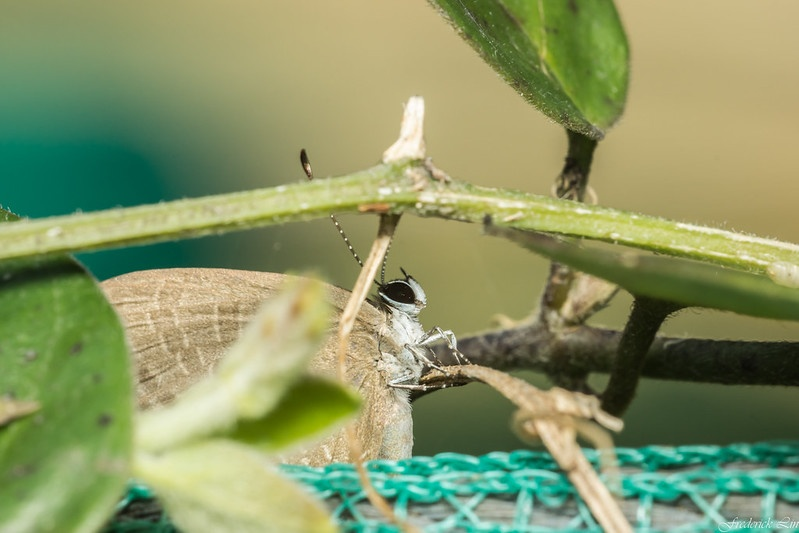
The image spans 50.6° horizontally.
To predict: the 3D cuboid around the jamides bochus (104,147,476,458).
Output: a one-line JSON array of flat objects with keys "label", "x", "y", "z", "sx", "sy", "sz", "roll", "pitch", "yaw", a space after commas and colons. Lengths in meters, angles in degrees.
[{"label": "jamides bochus", "x": -0.135, "y": 0.061, "z": 1.064, "sx": 0.343, "sy": 0.347, "sz": 0.320, "roll": -14, "pitch": -83, "yaw": -13}]
